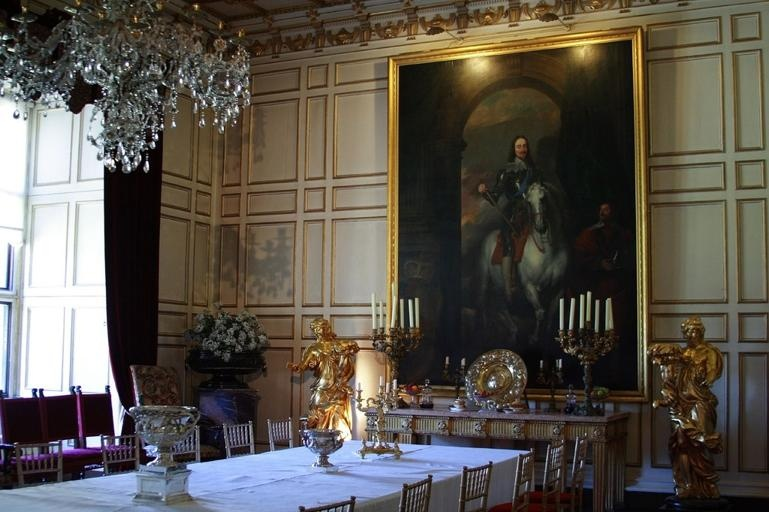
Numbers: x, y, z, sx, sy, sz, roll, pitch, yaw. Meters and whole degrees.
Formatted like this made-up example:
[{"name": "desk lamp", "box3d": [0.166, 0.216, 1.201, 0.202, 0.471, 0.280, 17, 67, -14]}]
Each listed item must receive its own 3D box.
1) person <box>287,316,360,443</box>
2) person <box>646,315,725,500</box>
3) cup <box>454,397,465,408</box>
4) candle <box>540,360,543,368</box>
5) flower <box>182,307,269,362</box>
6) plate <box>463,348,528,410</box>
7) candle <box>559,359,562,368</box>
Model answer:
[{"name": "person", "box3d": [-0.650, 1.401, 8.530, 0.657, 1.386, 1.026, -1, -6, -7]}, {"name": "person", "box3d": [3.180, 1.617, 7.955, 0.726, 1.937, 0.354, -2, -6, -3]}, {"name": "cup", "box3d": [0.855, 1.675, 8.612, 0.091, 0.096, 0.097, 2, -3, 0]}, {"name": "candle", "box3d": [1.844, 1.258, 8.846, 0.033, 0.088, 0.066, -4, -7, 24]}, {"name": "flower", "box3d": [-2.002, 0.980, 9.549, 0.682, 0.447, 0.709, 4, 0, 21]}, {"name": "plate", "box3d": [1.273, 1.414, 8.647, 0.688, 0.671, 0.285, -3, -6, 5]}, {"name": "candle", "box3d": [2.054, 1.251, 8.803, 0.026, 0.105, 0.070, -7, -8, 40]}]
